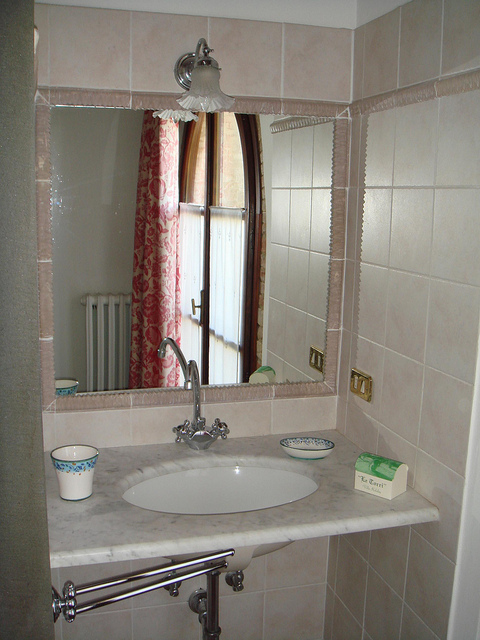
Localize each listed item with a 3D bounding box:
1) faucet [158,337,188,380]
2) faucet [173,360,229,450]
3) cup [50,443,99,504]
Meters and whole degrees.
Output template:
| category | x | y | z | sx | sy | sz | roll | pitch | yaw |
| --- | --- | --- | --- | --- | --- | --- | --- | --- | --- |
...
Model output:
| category | x | y | z | sx | sy | sz | roll | pitch | yaw |
| --- | --- | --- | --- | --- | --- | --- | --- | --- | --- |
| faucet | -0.214 | 0.130 | 1.668 | 0.089 | 0.212 | 0.041 | -7 | 42 | -6 |
| faucet | -0.134 | 0.270 | 1.633 | 0.178 | 0.395 | 0.162 | -2 | 8 | -4 |
| cup | -0.423 | 0.372 | 1.311 | 0.112 | 0.130 | 0.116 | 0 | -2 | 0 |
